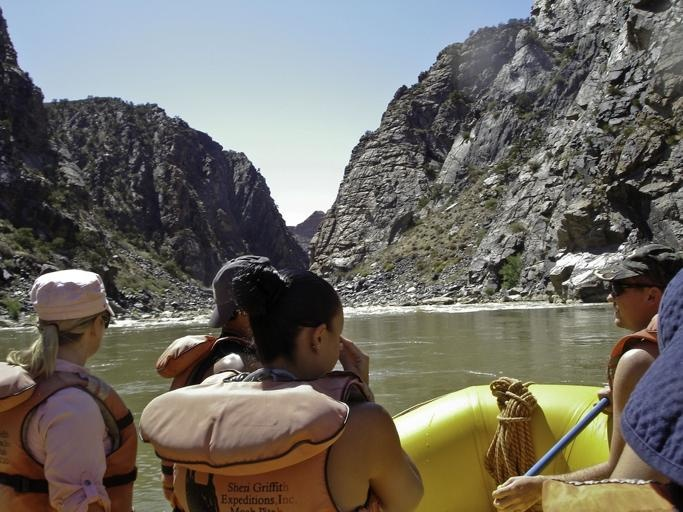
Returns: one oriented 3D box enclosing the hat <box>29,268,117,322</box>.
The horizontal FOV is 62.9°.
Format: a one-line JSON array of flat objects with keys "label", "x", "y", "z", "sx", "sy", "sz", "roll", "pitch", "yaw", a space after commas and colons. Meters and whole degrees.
[{"label": "hat", "x": -1.236, "y": 0.180, "z": 2.604, "sx": 0.248, "sy": 0.146, "sz": 0.324, "roll": 3, "pitch": 4, "yaw": 28}]
